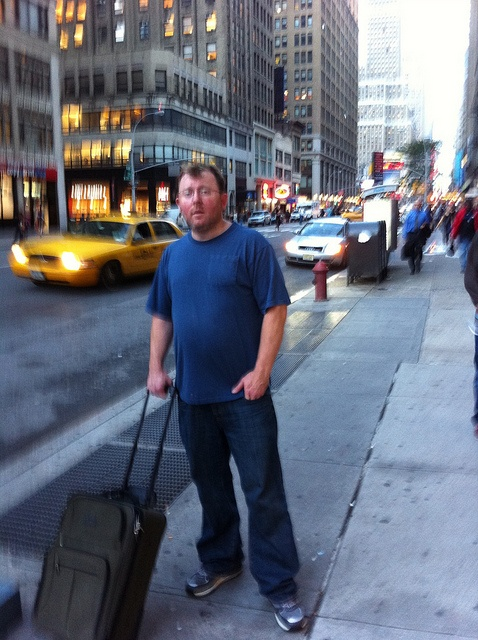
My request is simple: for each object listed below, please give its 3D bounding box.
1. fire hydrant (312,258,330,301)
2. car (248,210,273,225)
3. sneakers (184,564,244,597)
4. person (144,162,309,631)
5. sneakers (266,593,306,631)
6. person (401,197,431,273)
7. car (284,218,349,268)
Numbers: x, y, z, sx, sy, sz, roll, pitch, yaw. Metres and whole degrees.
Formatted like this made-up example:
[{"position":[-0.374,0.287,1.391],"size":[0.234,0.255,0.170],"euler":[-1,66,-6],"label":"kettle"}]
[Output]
[{"position":[1.409,-0.679,10.472],"size":[0.226,0.741,0.843],"euler":[1,9,8],"label":"fire hydrant"},{"position":[1.912,-9.280,54.791],"size":[1.126,1.103,2.708],"euler":[1,11,11],"label":"car"},{"position":[-0.118,1.088,2.571],"size":[0.216,0.108,0.078],"euler":[1,-1,-44],"label":"sneakers"},{"position":[-0.049,0.366,2.414],"size":[0.783,1.547,0.284],"euler":[6,11,38],"label":"person"},{"position":[0.191,1.105,2.263],"size":[0.123,0.086,0.105],"euler":[-1,9,-3],"label":"sneakers"},{"position":[4.216,-1.980,14.279],"size":[0.597,1.722,1.292],"euler":[2,9,17],"label":"person"},{"position":[2.439,-2.252,17.419],"size":[0.994,0.920,2.566],"euler":[2,12,19],"label":"car"}]
